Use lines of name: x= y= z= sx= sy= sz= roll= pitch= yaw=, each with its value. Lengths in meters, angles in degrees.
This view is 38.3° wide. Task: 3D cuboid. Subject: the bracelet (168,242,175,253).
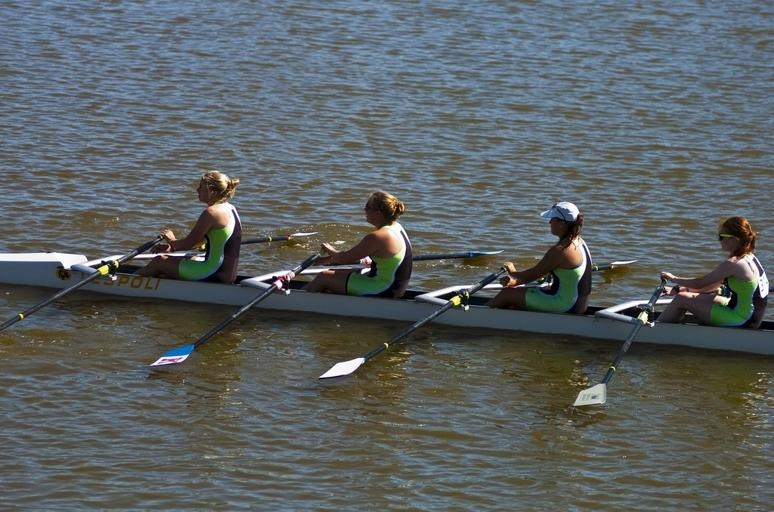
bracelet: x=-3.877 y=-0.175 z=20.094 sx=0.075 sy=0.134 sz=0.131 roll=15 pitch=-11 yaw=-9

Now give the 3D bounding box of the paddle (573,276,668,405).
paddle: x=4.059 y=1.237 z=18.466 sx=0.572 sy=2.944 sz=0.281 roll=40 pitch=-19 yaw=-19

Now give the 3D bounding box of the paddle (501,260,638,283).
paddle: x=3.848 y=0.257 z=21.543 sx=3.427 sy=0.387 sz=0.317 roll=-5 pitch=-10 yaw=-27

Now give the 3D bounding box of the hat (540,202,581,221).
hat: x=3.018 y=-0.766 z=19.083 sx=0.843 sy=0.229 sz=0.399 roll=0 pitch=15 yaw=13

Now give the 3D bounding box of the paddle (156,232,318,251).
paddle: x=-2.912 y=-0.270 z=21.363 sx=2.976 sy=0.107 sz=0.435 roll=-2 pitch=-5 yaw=-9
